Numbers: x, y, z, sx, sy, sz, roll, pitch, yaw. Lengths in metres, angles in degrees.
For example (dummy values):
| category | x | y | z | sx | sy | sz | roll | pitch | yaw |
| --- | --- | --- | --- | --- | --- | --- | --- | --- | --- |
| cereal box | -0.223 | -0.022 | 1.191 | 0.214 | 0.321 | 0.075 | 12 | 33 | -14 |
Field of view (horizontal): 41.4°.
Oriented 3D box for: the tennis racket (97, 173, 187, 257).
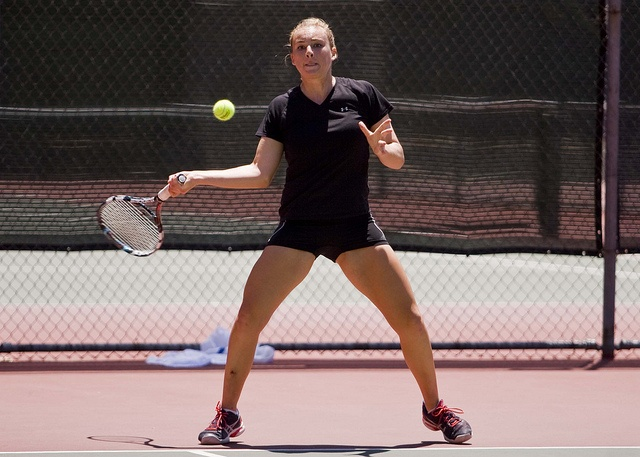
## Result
| category | x | y | z | sx | sy | sz | roll | pitch | yaw |
| --- | --- | --- | --- | --- | --- | --- | --- | --- | --- |
| tennis racket | -1.284 | -0.115 | 6.107 | 0.644 | 0.393 | 0.059 | -40 | 12 | 25 |

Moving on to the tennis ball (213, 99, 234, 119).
| category | x | y | z | sx | sy | sz | roll | pitch | yaw |
| --- | --- | --- | --- | --- | --- | --- | --- | --- | --- |
| tennis ball | -0.736 | -0.896 | 6.340 | 0.161 | 0.150 | 0.158 | -4 | 12 | 1 |

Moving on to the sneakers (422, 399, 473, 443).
| category | x | y | z | sx | sy | sz | roll | pitch | yaw |
| --- | --- | --- | --- | --- | --- | --- | --- | --- | --- |
| sneakers | 0.824 | 1.231 | 5.451 | 0.211 | 0.192 | 0.467 | -12 | 8 | -24 |

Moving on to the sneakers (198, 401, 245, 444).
| category | x | y | z | sx | sy | sz | roll | pitch | yaw |
| --- | --- | --- | --- | --- | --- | --- | --- | --- | --- |
| sneakers | -0.641 | 1.236 | 5.394 | 0.153 | 0.221 | 0.419 | 0 | 3 | 28 |

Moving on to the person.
| category | x | y | z | sx | sy | sz | roll | pitch | yaw |
| --- | --- | --- | --- | --- | --- | --- | --- | --- | --- |
| person | 0.036 | 0.013 | 5.405 | 1.549 | 2.630 | 0.638 | 0 | 11 | -2 |
